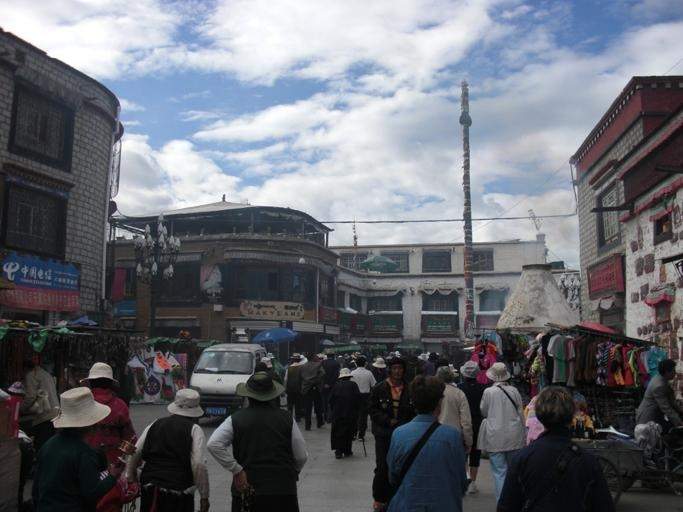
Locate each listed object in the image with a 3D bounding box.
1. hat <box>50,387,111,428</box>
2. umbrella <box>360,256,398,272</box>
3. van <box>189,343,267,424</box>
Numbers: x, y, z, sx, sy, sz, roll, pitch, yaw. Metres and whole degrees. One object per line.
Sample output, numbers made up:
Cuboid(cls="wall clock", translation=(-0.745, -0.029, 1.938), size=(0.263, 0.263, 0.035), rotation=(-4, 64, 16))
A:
Cuboid(cls="hat", translation=(-2.880, 1.662, 8.384), size=(0.420, 0.512, 0.478), rotation=(-1, -2, 19))
Cuboid(cls="umbrella", translation=(2.744, 0.375, 53.594), size=(2.009, 1.232, 2.774), rotation=(-1, -11, 13))
Cuboid(cls="van", translation=(-3.045, 3.410, 19.717), size=(1.985, 2.149, 4.869), rotation=(0, -3, -2))
